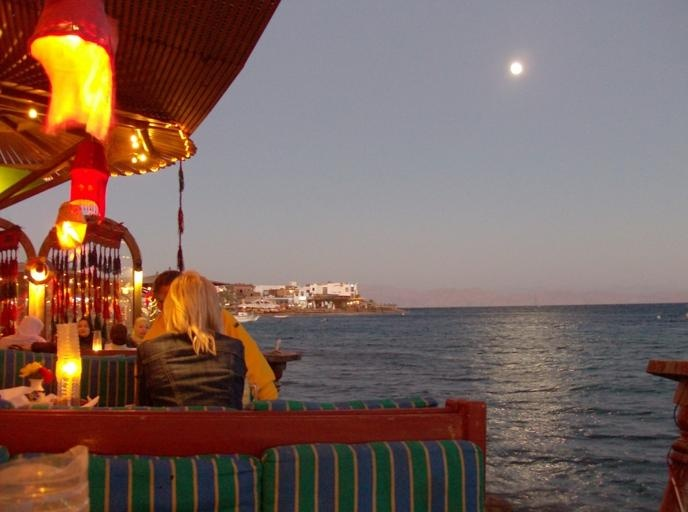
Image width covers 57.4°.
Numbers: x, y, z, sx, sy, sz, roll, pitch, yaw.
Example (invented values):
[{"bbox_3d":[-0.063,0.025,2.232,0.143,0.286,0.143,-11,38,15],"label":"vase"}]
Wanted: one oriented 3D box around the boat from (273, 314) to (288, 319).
[{"bbox_3d":[-16.657,16.912,172.449,5.292,0.661,1.165,0,-24,2],"label":"boat"}]
